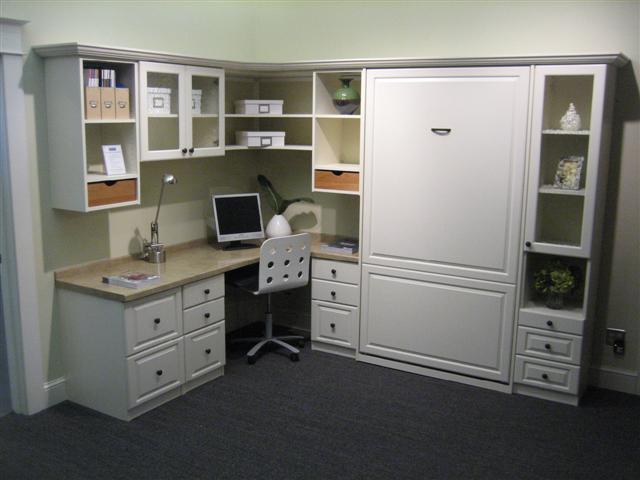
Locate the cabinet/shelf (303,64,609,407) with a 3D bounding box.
[{"bbox_3d":[1.094,-0.015,3.664,2.304,2.628,0.689,3,6,26],"label":"cabinet/shelf"}]

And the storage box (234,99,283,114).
[{"bbox_3d":[-0.553,-1.179,4.304,0.430,0.125,0.296,0,15,-2],"label":"storage box"}]

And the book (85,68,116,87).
[{"bbox_3d":[-1.466,-1.084,3.240,0.084,0.114,0.163,0,-1,20],"label":"book"}]

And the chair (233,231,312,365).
[{"bbox_3d":[-0.385,0.448,4.169,0.673,1.117,0.591,-12,19,-39],"label":"chair"}]

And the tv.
[{"bbox_3d":[-0.739,-0.156,4.333,0.458,0.494,0.160,-6,-2,-31],"label":"tv"}]

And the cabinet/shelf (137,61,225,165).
[{"bbox_3d":[-1.112,-0.991,3.816,0.270,0.675,0.741,19,23,40],"label":"cabinet/shelf"}]

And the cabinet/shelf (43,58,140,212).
[{"bbox_3d":[-1.562,-0.739,3.364,0.423,0.973,0.560,11,18,34],"label":"cabinet/shelf"}]

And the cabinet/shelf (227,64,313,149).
[{"bbox_3d":[-0.452,-1.223,4.420,0.718,0.665,0.247,0,1,5],"label":"cabinet/shelf"}]

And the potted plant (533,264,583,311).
[{"bbox_3d":[1.757,0.311,3.662,0.323,0.376,0.322,0,7,32],"label":"potted plant"}]

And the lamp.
[{"bbox_3d":[-1.297,-0.191,3.895,0.279,0.693,0.462,-5,16,-21],"label":"lamp"}]

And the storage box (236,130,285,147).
[{"bbox_3d":[-0.550,-0.909,4.367,0.448,0.126,0.270,1,15,-1],"label":"storage box"}]
